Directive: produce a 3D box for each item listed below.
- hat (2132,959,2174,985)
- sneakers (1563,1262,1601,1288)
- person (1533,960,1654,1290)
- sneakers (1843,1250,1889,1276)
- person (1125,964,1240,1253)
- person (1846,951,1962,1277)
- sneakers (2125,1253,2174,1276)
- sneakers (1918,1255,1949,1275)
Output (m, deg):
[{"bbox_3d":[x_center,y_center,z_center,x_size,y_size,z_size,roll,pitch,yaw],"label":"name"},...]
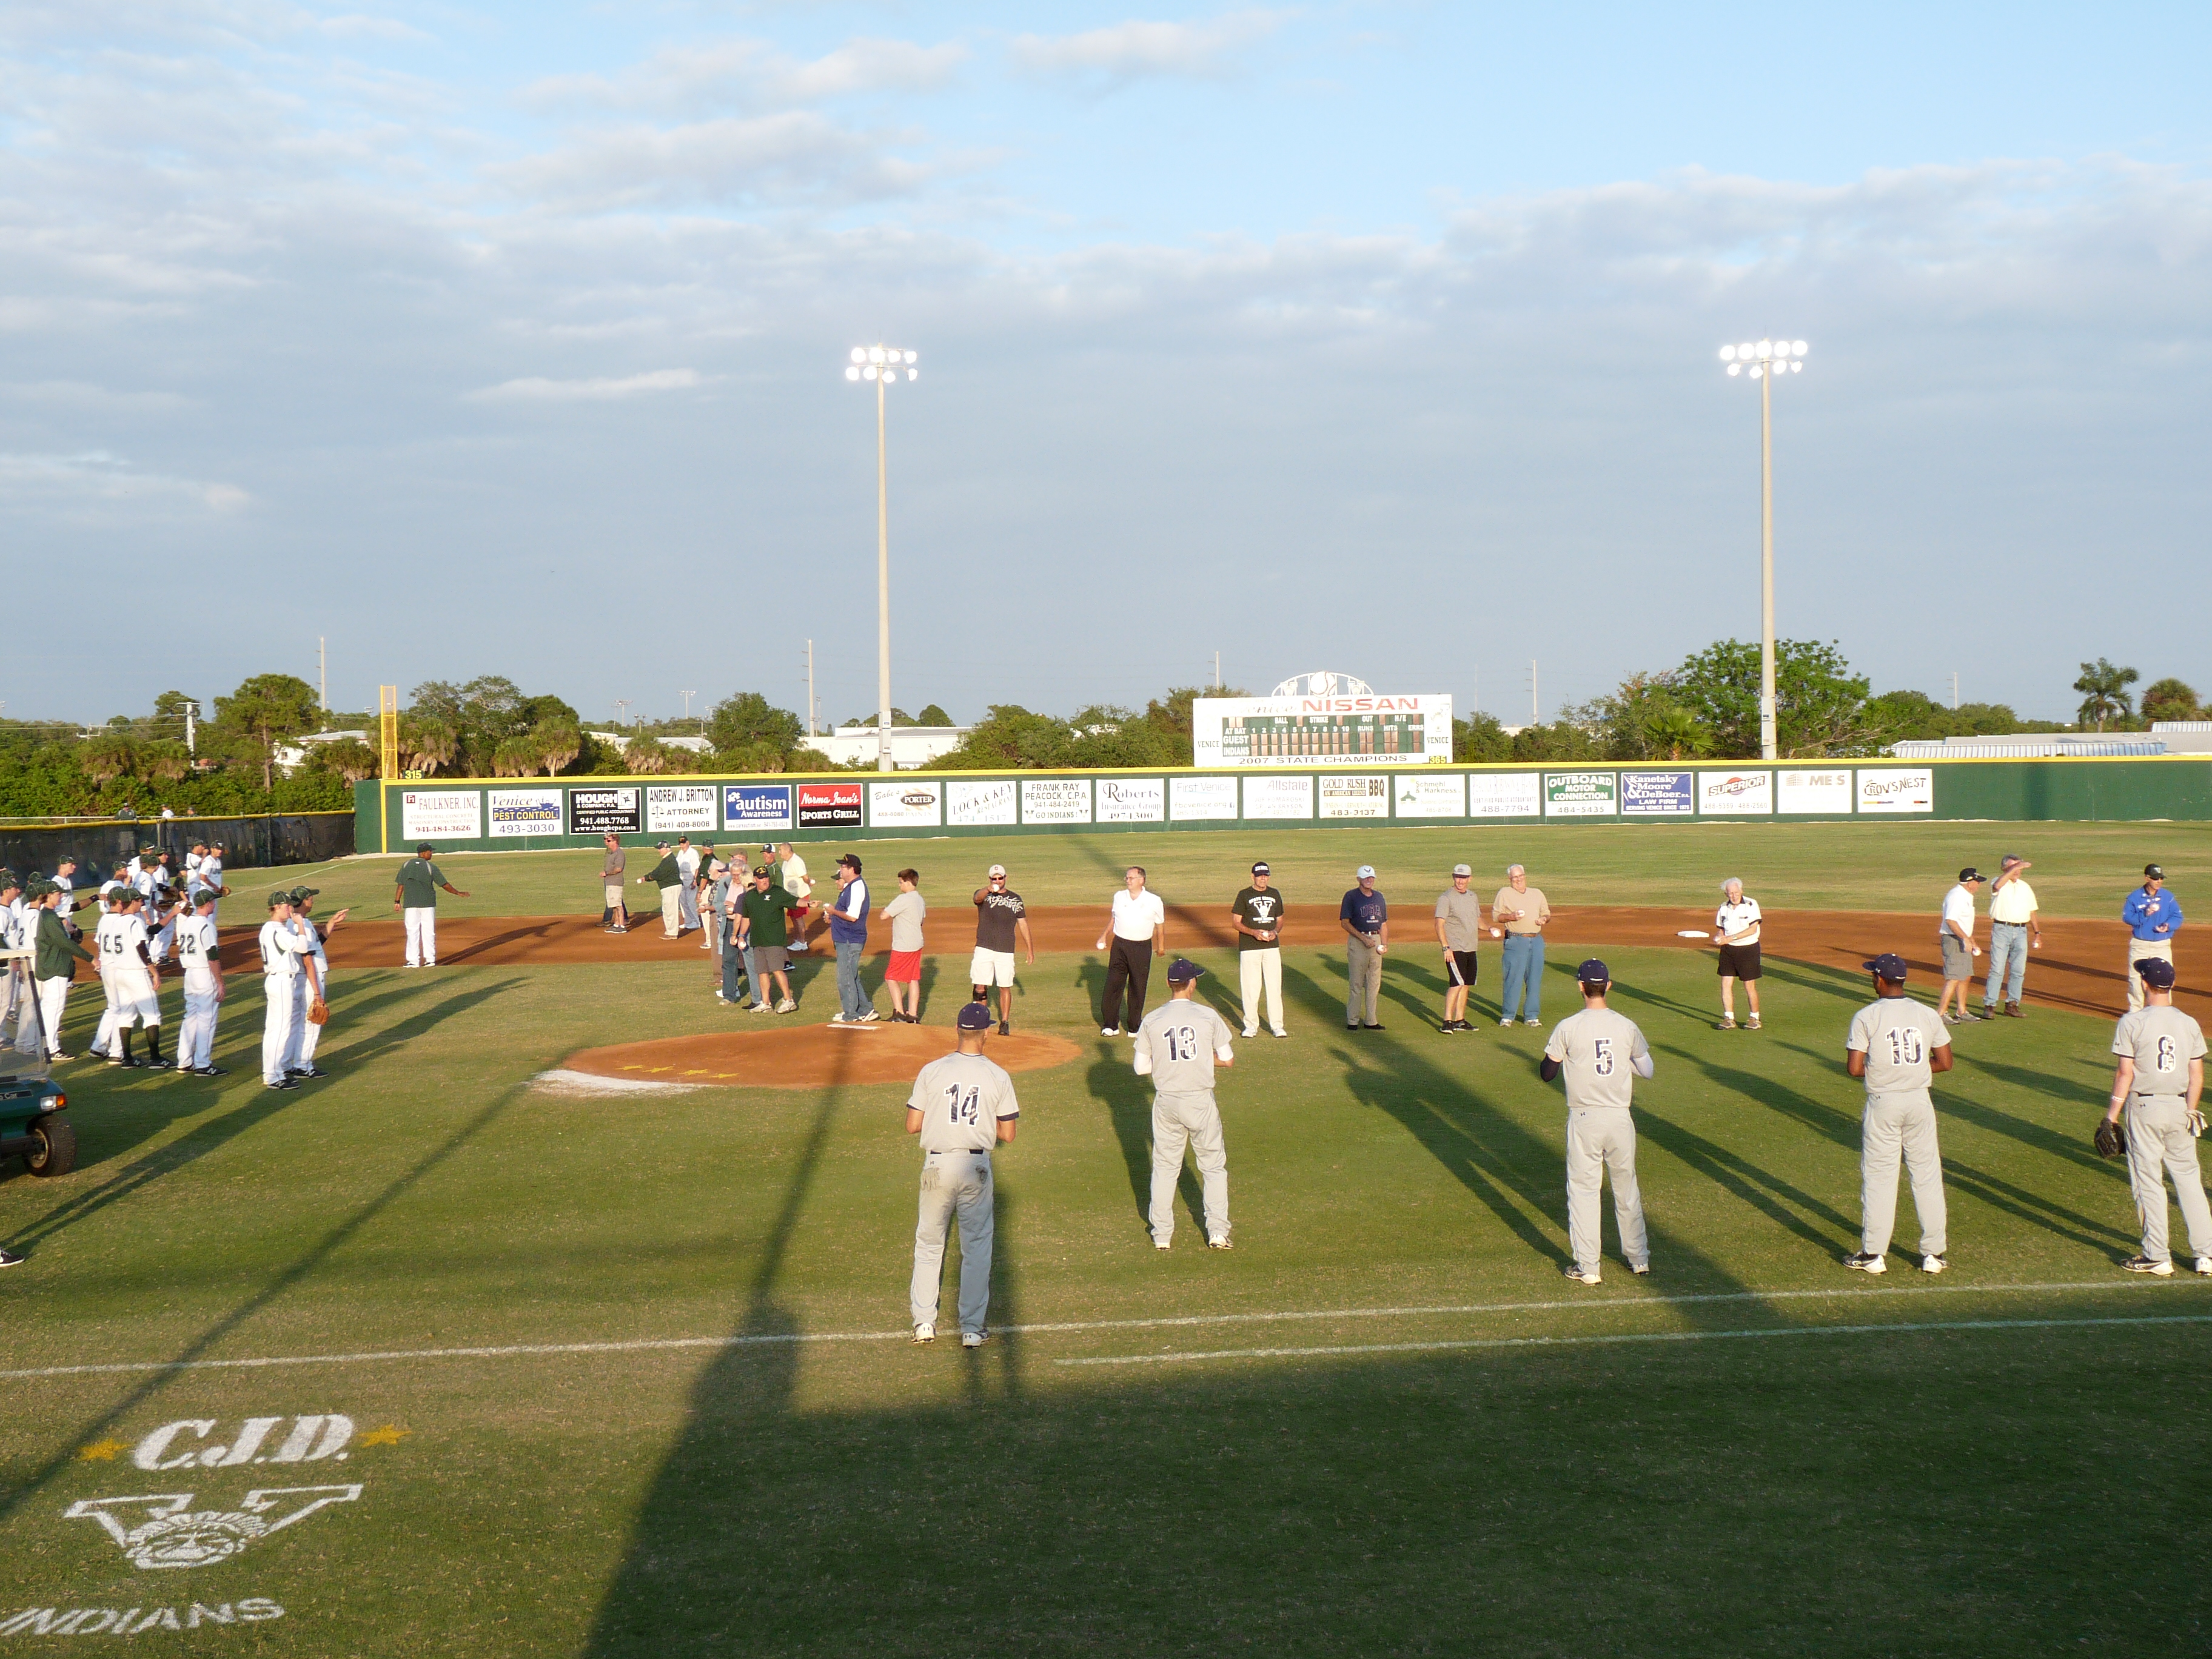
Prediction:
[{"bbox_3d":[7.537,1.068,15.472,0.272,0.119,0.305,5,17,21],"label":"hat"},{"bbox_3d":[3.507,3.328,15.941,0.106,0.208,0.314,-5,3,-45],"label":"sneakers"},{"bbox_3d":[3.673,2.172,16.039,0.780,2.388,1.293,1,8,14],"label":"person"},{"bbox_3d":[5.678,3.240,16.088,0.126,0.190,0.376,-1,9,-3],"label":"sneakers"},{"bbox_3d":[0.617,2.152,16.644,0.687,2.332,0.722,0,8,7],"label":"person"},{"bbox_3d":[5.871,2.157,15.886,0.691,2.381,1.091,2,8,21],"label":"person"},{"bbox_3d":[7.711,3.262,15.964,0.344,0.162,0.136,3,1,13],"label":"sneakers"},{"bbox_3d":[6.161,3.276,16.069,0.125,0.077,0.175,2,1,12],"label":"sneakers"}]
